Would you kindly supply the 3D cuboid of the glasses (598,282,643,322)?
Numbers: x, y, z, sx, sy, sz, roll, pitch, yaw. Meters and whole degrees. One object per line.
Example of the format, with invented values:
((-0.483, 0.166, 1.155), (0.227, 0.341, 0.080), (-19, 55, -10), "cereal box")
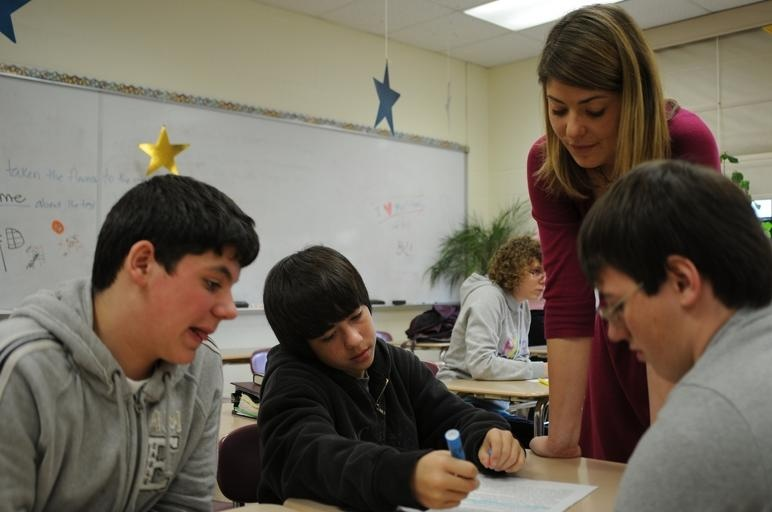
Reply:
((0.408, 0.083, 0.997), (0.060, 0.016, 0.046), (-40, -13, 17), "glasses")
